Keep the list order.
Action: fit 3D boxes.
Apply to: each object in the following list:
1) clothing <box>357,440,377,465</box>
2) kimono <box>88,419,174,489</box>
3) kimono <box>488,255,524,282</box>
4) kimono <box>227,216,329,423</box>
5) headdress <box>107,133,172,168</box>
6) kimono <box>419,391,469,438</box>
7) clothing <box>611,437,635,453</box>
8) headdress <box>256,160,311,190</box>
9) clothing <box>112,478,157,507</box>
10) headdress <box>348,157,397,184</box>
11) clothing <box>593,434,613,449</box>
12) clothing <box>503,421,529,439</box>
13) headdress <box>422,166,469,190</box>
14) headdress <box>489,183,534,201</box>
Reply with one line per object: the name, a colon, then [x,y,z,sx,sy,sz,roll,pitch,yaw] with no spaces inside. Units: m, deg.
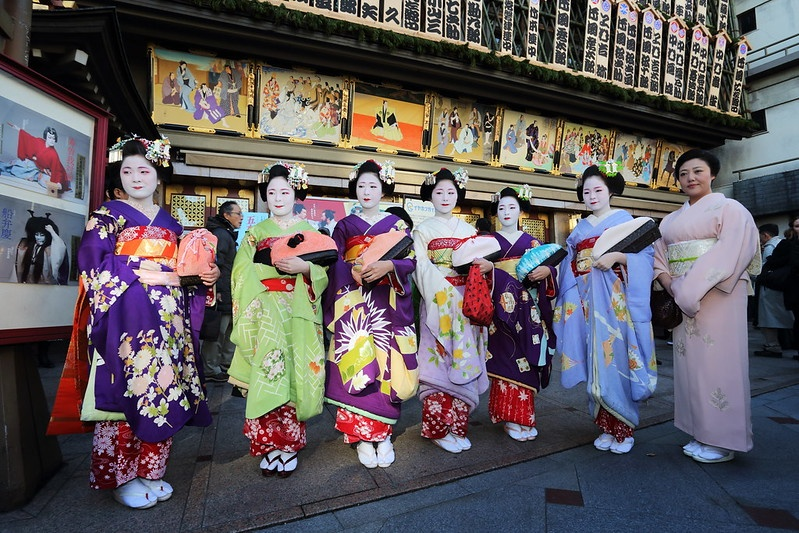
clothing: [-0.332,2.011,7.015,0.198,0.253,0.159,0,1,-12]
kimono: [-2.696,1.874,6.561,0.722,0.649,0.400,6,2,-5]
kimono: [1.297,-0.003,7.766,0.318,0.198,0.250,-1,-2,-10]
kimono: [-1.286,0.566,7.030,1.035,2.143,0.526,0,1,-7]
headdress: [-2.726,-1.212,6.932,0.501,0.268,0.373,-4,0,3]
kimono: [0.519,1.648,7.341,0.534,0.484,0.294,4,2,-8]
clothing: [2.516,1.984,7.287,0.350,0.158,0.149,0,1,-26]
headdress: [-1.438,-1.107,7.927,0.872,0.336,0.857,3,5,-6]
clothing: [-2.635,2.273,6.522,0.407,0.176,0.224,6,5,25]
headdress: [-0.293,-1.105,7.590,0.419,0.171,0.368,3,14,9]
clothing: [2.293,1.961,7.313,0.117,0.060,0.218,-5,12,27]
clothing: [1.342,1.889,7.491,0.248,0.181,0.142,1,1,13]
headdress: [0.577,-1.054,7.784,0.374,0.164,0.364,-4,9,-2]
headdress: [1.395,-0.845,8.118,0.418,0.227,0.423,-19,8,21]
